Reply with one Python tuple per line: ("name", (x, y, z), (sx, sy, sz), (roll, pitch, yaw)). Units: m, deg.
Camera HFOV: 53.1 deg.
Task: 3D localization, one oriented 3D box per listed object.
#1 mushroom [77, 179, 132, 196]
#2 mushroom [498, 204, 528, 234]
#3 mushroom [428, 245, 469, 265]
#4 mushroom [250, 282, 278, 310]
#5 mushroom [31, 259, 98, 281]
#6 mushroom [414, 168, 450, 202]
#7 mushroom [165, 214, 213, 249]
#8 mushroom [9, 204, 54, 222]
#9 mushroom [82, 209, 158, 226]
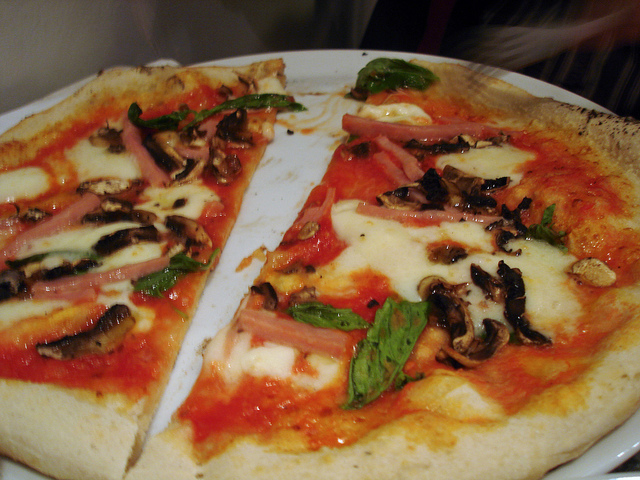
("mushroom", (-1.674, -0.408, 4.958), (0.325, 0.058, 0.169), (-1, 28, 3))
("mushroom", (1.370, -0.153, 4.526), (0.216, 0.049, 0.221), (34, 26, 26))
("mushroom", (0.862, 0.105, 4.386), (0.220, 0.090, 0.167), (-19, 49, -25))
("mushroom", (-0.357, 0.383, 4.324), (0.170, 0.050, 0.166), (-15, 66, -10))
("mushroom", (-1.816, 0.206, 4.522), (0.447, 0.109, 0.140), (-11, 48, -19))
("mushroom", (0.834, -0.387, 4.719), (0.161, 0.128, 0.303), (-10, 45, -18))
("mushroom", (-0.981, -0.059, 4.730), (0.218, 0.164, 0.329), (-25, 52, -29))
("mushroom", (-2.176, -0.184, 4.814), (0.257, 0.073, 0.142), (26, 63, 3))
("mushroom", (-1.496, -0.166, 4.770), (0.544, 0.077, 0.133), (2, 44, -6))
